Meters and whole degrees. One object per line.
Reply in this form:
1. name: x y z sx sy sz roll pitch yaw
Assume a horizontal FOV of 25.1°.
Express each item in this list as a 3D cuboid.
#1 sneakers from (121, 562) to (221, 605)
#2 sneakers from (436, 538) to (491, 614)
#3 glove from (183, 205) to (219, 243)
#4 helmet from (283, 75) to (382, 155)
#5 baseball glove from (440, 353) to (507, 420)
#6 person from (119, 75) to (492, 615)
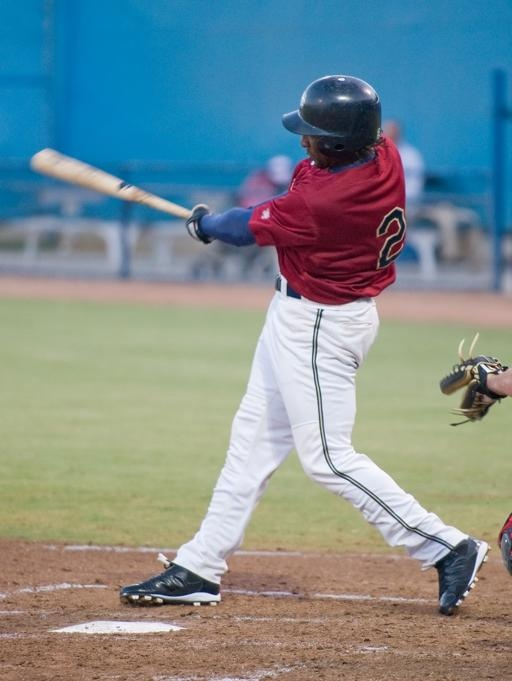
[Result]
1. sneakers: -0.256 0.828 3.874 0.362 0.131 0.118 3 -11 -7
2. sneakers: 0.649 0.755 3.721 0.181 0.286 0.101 9 32 -4
3. glove: -0.188 -0.395 3.927 0.088 0.095 0.134 20 28 -4
4. helmet: 0.272 -0.743 3.725 0.375 0.198 0.246 4 34 7
5. baseball glove: 0.740 0.154 3.932 0.197 0.236 0.101 7 49 -36
6. person: 0.196 0.027 3.772 1.161 1.766 0.432 3 12 3
